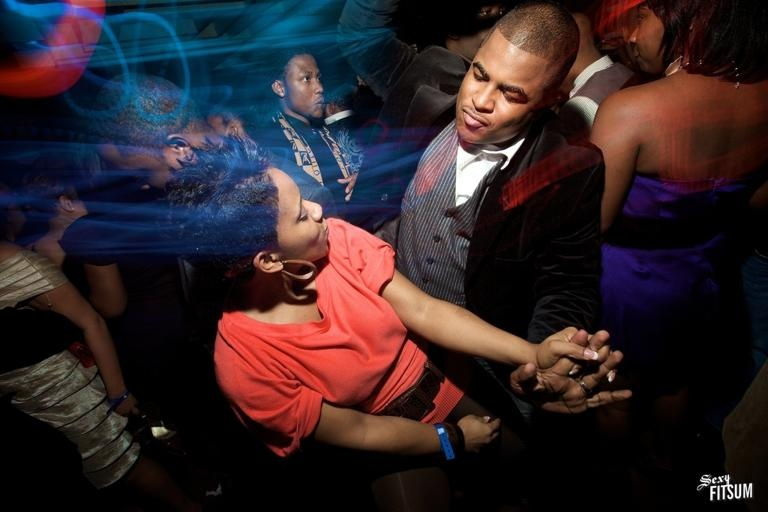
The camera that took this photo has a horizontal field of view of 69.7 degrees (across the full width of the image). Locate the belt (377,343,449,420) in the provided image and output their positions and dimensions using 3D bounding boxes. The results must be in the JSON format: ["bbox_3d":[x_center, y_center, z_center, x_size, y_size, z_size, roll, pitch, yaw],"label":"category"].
[{"bbox_3d":[0.203,0.789,3.460,0.391,0.164,0.299,-40,6,-9],"label":"belt"}]

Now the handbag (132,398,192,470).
[{"bbox_3d":[-1.748,1.289,4.204,0.256,0.221,0.670,-51,45,-3],"label":"handbag"}]
